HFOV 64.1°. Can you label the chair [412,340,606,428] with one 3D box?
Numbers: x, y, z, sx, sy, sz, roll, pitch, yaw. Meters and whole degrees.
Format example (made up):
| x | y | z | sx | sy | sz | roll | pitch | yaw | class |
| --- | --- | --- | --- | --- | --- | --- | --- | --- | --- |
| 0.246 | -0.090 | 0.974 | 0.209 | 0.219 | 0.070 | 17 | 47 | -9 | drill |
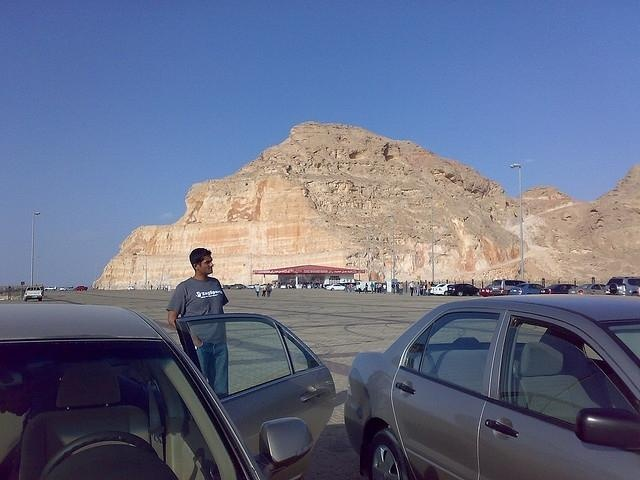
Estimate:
| x | y | z | sx | sy | sz | roll | pitch | yaw | class |
| --- | --- | --- | --- | --- | --- | --- | --- | --- | --- |
| 1.451 | 0.991 | 3.822 | 0.535 | 0.222 | 0.996 | -4 | 1 | -27 | chair |
